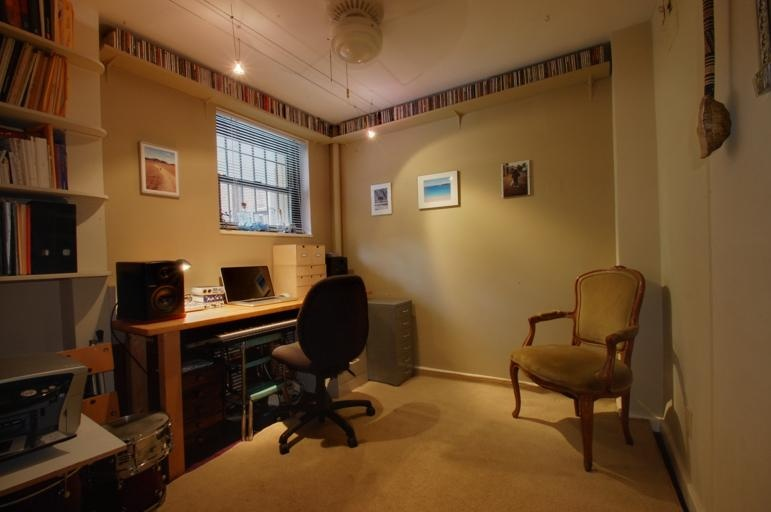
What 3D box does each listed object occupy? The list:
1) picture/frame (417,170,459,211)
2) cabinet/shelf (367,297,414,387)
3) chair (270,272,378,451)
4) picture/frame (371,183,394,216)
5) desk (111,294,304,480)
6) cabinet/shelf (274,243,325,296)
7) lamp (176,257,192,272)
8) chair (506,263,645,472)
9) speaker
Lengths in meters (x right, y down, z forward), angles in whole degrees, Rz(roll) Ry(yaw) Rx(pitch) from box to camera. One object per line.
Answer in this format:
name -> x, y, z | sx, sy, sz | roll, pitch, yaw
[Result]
picture/frame -> 0.572, -0.708, 5.598 | 0.420, 0.379, 0.038 | -1, -1, 31
cabinet/shelf -> 0.022, 0.895, 5.647 | 0.510, 0.823, 0.463 | -2, 4, 25
chair -> -0.550, 0.840, 4.536 | 0.962, 1.393, 0.895 | -5, 9, -34
picture/frame -> -0.033, -0.655, 5.978 | 0.349, 0.490, 0.017 | -1, -2, 34
desk -> -1.349, 0.918, 4.471 | 1.331, 0.823, 0.392 | -6, -7, -39
cabinet/shelf -> -0.927, 0.151, 5.699 | 0.301, 0.568, 0.573 | -2, -1, 23
lamp -> -1.737, 0.072, 4.496 | 0.146, 0.115, 0.052 | 7, -21, 47
chair -> 1.629, 0.819, 4.392 | 0.838, 1.485, 1.030 | 2, 4, -16
speaker -> -1.906, 0.283, 4.424 | 0.483, 0.669, 0.449 | -3, -1, 4
